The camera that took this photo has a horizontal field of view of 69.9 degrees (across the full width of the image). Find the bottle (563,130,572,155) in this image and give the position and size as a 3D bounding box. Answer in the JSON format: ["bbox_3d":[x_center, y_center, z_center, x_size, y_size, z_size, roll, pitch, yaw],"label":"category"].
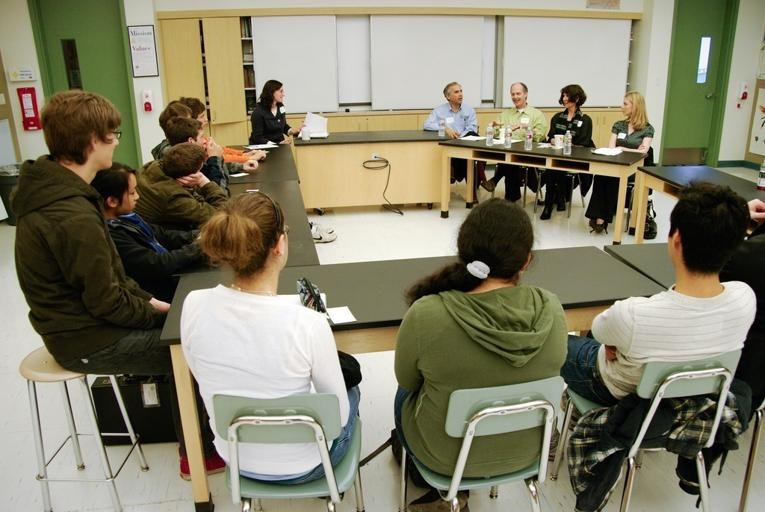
[{"bbox_3d":[2.022,-1.236,5.994,0.090,0.222,0.340,4,17,18],"label":"bottle"}]

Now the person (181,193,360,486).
[{"bbox_3d":[-0.482,0.353,2.295,0.681,1.205,0.382,-1,16,3],"label":"person"}]

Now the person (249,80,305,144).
[{"bbox_3d":[-1.478,-1.891,7.448,0.687,0.971,0.644,19,37,13],"label":"person"}]

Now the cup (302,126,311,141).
[{"bbox_3d":[-0.961,-1.528,6.827,0.117,0.159,0.300,-4,17,-7],"label":"cup"}]

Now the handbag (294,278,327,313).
[{"bbox_3d":[-0.343,0.175,2.663,0.085,0.115,0.252,-9,24,-21],"label":"handbag"}]

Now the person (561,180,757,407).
[{"bbox_3d":[1.233,0.229,2.443,0.784,1.067,0.411,4,17,19],"label":"person"}]

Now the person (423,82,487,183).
[{"bbox_3d":[1.019,-1.689,7.454,0.698,1.313,0.985,-5,7,-16],"label":"person"}]

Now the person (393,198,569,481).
[{"bbox_3d":[0.402,0.367,2.324,0.705,1.176,0.357,-2,16,-2],"label":"person"}]
